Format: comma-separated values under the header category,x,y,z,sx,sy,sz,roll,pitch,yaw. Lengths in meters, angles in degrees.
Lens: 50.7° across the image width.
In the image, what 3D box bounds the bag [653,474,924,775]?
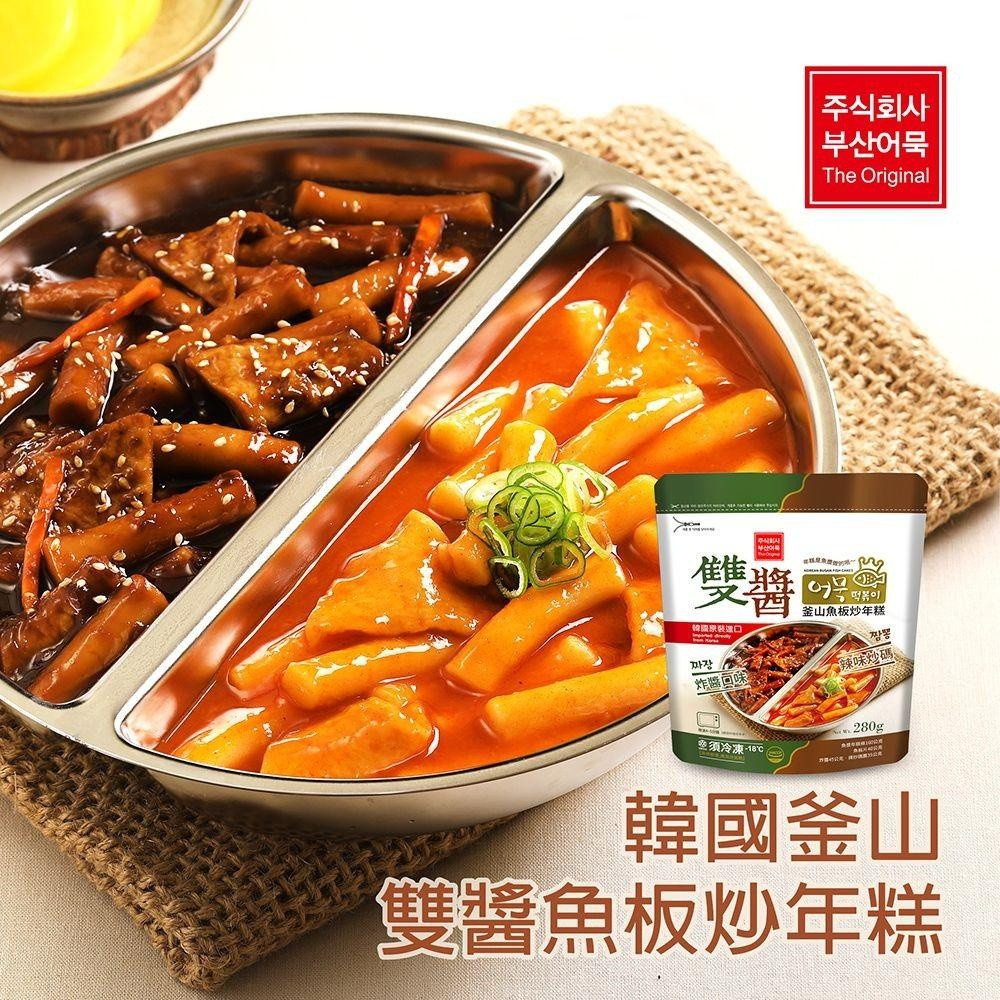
category,x,y,z,sx,sy,sz,roll,pitch,yaw
bag,0.533,0.242,1.989,0.471,0.544,0.387,2,-19,16
